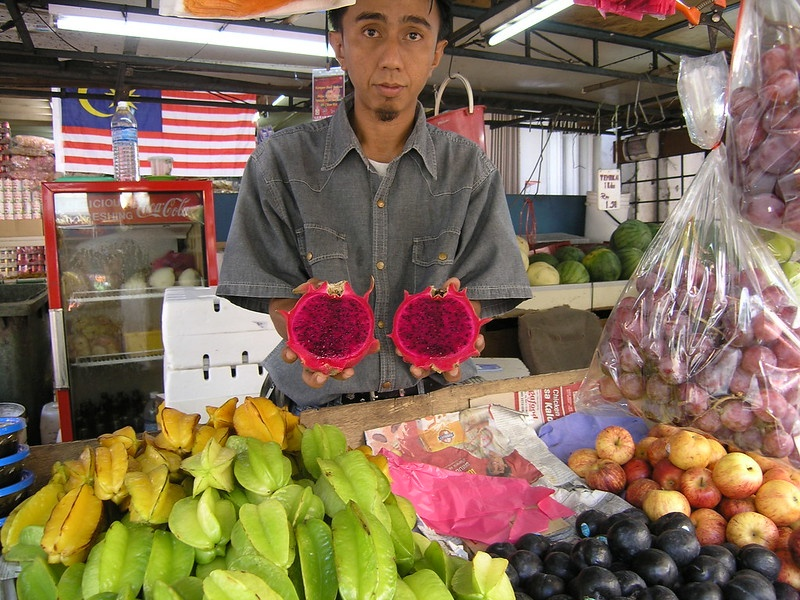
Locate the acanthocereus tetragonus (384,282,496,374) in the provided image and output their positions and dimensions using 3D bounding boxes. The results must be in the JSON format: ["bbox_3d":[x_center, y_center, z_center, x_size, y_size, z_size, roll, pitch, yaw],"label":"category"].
[{"bbox_3d":[0.136,0.097,1.809,0.279,0.279,0.293,-3,4,28],"label":"acanthocereus tetragonus"}]

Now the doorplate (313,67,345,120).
[{"bbox_3d":[-0.500,-1.443,3.761,0.231,0.350,0.036,-13,45,-21],"label":"doorplate"}]

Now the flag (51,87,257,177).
[{"bbox_3d":[-3.726,-2.476,8.319,3.453,1.242,0.090,5,11,12],"label":"flag"}]

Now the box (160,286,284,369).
[{"bbox_3d":[-1.081,0.100,3.175,0.627,0.333,0.576,-1,3,-17],"label":"box"}]

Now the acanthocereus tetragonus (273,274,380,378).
[{"bbox_3d":[-0.190,0.087,1.767,0.221,0.296,0.372,-3,4,30],"label":"acanthocereus tetragonus"}]

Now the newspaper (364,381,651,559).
[{"bbox_3d":[0.358,0.427,1.716,0.642,0.147,0.532,2,14,-27],"label":"newspaper"}]
